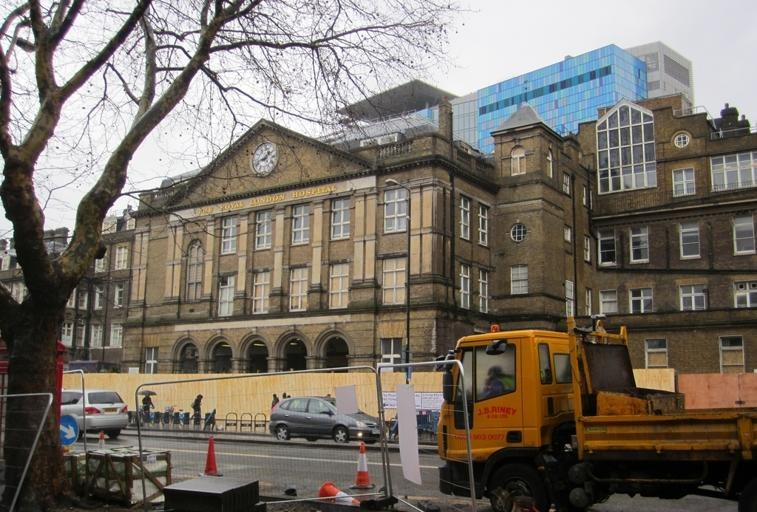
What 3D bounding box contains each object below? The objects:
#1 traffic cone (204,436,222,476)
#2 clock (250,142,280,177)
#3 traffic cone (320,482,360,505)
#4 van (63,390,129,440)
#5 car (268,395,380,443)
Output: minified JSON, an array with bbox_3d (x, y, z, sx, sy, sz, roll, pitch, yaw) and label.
[{"bbox_3d":[-3.502,4.140,17.805,0.217,0.801,0.436,12,-21,-38],"label":"traffic cone"},{"bbox_3d":[-7.324,-6.253,54.130,0.436,2.229,2.261,19,1,30],"label":"clock"},{"bbox_3d":[-0.797,4.757,17.053,0.767,0.443,0.447,11,-2,25],"label":"traffic cone"},{"bbox_3d":[-10.632,5.794,32.145,2.200,2.016,4.419,5,-18,-21],"label":"van"},{"bbox_3d":[-1.088,3.475,17.909,2.027,0.809,1.037,-8,-20,20],"label":"car"}]
